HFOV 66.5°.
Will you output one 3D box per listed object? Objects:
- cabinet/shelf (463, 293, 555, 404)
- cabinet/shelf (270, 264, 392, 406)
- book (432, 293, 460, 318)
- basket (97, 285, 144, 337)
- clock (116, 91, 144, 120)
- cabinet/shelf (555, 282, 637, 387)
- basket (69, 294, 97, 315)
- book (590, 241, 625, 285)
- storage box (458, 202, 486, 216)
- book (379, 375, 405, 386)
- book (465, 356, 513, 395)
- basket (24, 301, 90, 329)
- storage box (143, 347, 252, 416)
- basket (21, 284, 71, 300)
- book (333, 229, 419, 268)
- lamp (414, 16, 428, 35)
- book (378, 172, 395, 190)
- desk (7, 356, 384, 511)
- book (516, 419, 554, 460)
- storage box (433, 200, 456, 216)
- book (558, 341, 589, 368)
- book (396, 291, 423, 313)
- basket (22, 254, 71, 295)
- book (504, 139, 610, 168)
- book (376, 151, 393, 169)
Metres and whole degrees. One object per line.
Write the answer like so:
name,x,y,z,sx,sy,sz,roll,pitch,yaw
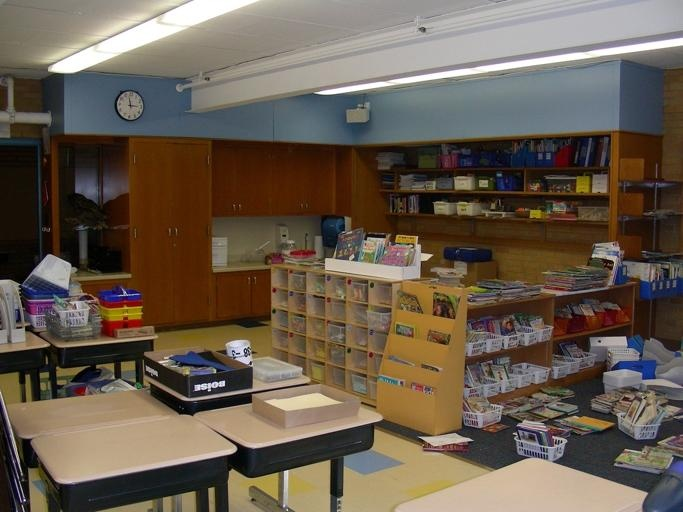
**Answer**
cabinet/shelf,1.795,1.011,5.650,0.455,1.030,1.321,-2,-3,42
cabinet/shelf,-0.038,0.810,5.480,0.495,0.985,1.524,-3,12,-39
book,1.009,0.475,4.981,0.033,0.189,0.233,0,10,-39
basket,-1.913,0.472,4.516,0.395,0.470,0.438,-2,3,-30
clock,-3.176,-2.243,7.776,0.390,0.378,0.064,24,-11,-34
cabinet/shelf,3.131,1.005,6.486,1.329,1.028,0.418,-3,4,-29
basket,-2.298,0.437,4.626,0.226,0.132,0.131,3,1,21
book,3.430,0.101,6.745,0.432,0.542,0.198,-1,-8,35
storage box,2.089,-0.762,8.549,0.223,0.138,0.334,1,1,35
book,0.516,1.246,5.214,0.153,0.040,0.159,1,4,-38
book,1.581,1.292,5.580,0.515,0.153,0.334,-6,9,-36
basket,-2.586,0.508,4.729,0.521,0.196,0.347,1,-2,-34
storage box,-0.788,0.643,3.033,0.324,0.151,0.491,-6,10,-38
basket,-2.664,0.325,4.688,0.366,0.136,0.257,-7,10,-26
book,0.351,-0.102,5.805,1.042,0.364,0.290,4,11,38
lamp,0.745,-2.148,4.890,0.063,0.140,0.106,-5,12,-23
book,0.867,-1.410,9.893,0.395,0.158,0.507,0,3,5
desk,-0.826,1.035,2.965,1.491,0.586,1.490,-4,6,-39
book,1.669,1.579,4.546,0.345,0.281,0.229,1,4,28
storage box,1.749,-0.809,8.894,0.221,0.138,0.337,0,0,33
book,2.881,1.228,6.484,0.269,0.122,0.368,-2,5,-23
book,0.678,0.474,5.249,0.184,0.212,0.084,8,16,41
basket,-2.671,0.178,4.805,0.408,0.268,0.387,-3,7,-8
book,3.148,-1.485,7.563,1.393,0.461,0.257,5,12,41
book,0.817,-1.771,9.718,0.396,0.149,0.472,0,4,4
